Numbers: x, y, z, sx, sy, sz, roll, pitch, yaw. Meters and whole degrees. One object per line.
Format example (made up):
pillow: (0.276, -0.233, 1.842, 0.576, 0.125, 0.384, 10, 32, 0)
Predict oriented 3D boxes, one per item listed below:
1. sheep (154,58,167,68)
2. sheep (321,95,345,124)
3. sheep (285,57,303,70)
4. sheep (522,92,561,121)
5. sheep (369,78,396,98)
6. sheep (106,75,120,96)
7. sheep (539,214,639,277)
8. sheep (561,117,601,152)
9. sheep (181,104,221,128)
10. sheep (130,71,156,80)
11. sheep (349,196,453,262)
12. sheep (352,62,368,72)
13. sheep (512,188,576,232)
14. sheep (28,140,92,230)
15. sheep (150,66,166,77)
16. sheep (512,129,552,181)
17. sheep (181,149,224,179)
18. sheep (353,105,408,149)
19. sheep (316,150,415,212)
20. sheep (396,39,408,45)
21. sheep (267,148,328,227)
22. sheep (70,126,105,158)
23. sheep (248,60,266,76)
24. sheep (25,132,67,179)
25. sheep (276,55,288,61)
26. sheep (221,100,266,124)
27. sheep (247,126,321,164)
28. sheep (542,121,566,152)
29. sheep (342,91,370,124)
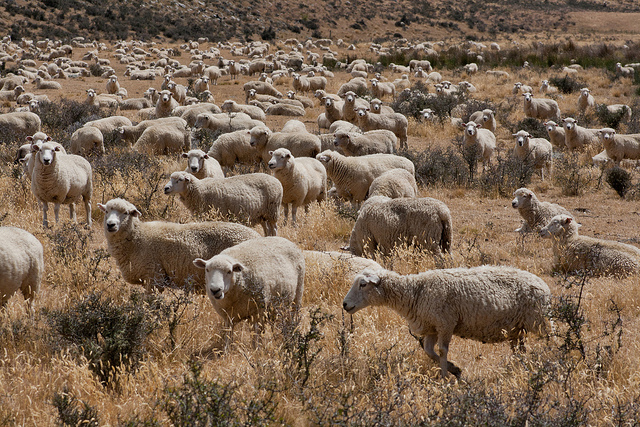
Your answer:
sheep: (-11.651, -10.898, 55.506, 0.424, 0.754, 1.361, -7, 7, -44)
sheep: (0.554, -4.025, 29.430, 0.700, 1.045, 2.184, 6, 17, 14)
sheep: (-1.752, -10.324, 52.716, 1.224, 0.833, 0.544, 4, 28, 7)
sheep: (9.303, -4.293, 32.360, 2.238, 1.325, 0.588, 2, 7, -26)
sheep: (3.111, -6.434, 39.249, 0.691, 1.190, 2.139, 1, 1, 39)
sheep: (-11.198, -6.974, 41.820, 0.755, 1.104, 1.952, -1, -5, -10)
sheep: (6.367, 0.758, 18.698, 2.727, 1.724, 1.132, 8, 5, 34)
sheep: (9.347, -2.852, 27.436, 1.559, 1.209, 0.702, -3, 17, -17)
sheep: (-4.559, -3.729, 28.834, 0.630, 1.032, 1.934, 2, 6, 42)
sheep: (-11.135, -8.732, 48.455, 1.696, 0.440, 0.915, -13, 22, -42)
sheep: (1.922, 0.534, 18.860, 3.029, 1.824, 1.484, -1, 9, 41)
sheep: (2.709, -9.559, 49.988, 1.078, 0.774, 0.495, 13, 20, 32)
sheep: (6.041, -0.017, 20.684, 1.859, 1.355, 0.806, 2, 3, -22)
sheep: (-6.842, -0.705, 20.020, 1.163, 2.116, 2.528, 4, 4, 8)
sheep: (-10.709, -9.369, 50.478, 0.575, 0.865, 1.587, -1, 7, -4)
sheep: (7.044, -1.899, 25.393, 2.148, 1.598, 0.813, -1, 6, -44)
sheep: (-3.210, -1.326, 20.973, 0.637, 0.768, 1.277, -2, -2, 5)
sheep: (2.282, -3.048, 27.850, 2.298, 1.444, 0.621, 1, -1, -25)
sheep: (1.330, -0.859, 21.614, 3.016, 1.983, 1.105, -5, 6, -9)
sheep: (8.833, -18.342, 81.564, 0.458, 0.792, 1.564, 32, 21, 24)
sheep: (-0.682, -0.718, 21.222, 1.152, 2.109, 2.630, 3, 2, 29)
sheep: (-7.497, -2.383, 25.305, 0.876, 1.364, 1.856, -5, 8, -31)
sheep: (-4.154, -9.441, 49.788, 1.070, 1.050, 1.366, 1, 16, -3)
sheep: (-7.391, -1.140, 20.437, 0.886, 1.555, 1.872, 1, 9, -23)
sheep: (-2.898, -11.674, 57.367, 0.658, 0.425, 1.299, 15, 13, 8)
sheep: (-2.837, -4.137, 30.708, 2.016, 1.121, 0.785, 11, 13, 13)
sheep: (-1.032, -2.087, 23.469, 2.314, 1.369, 1.013, 3, 3, 13)
sheep: (8.804, -2.773, 28.336, 0.597, 1.125, 1.833, -4, -1, 34)
sheep: (1.237, -3.771, 29.432, 0.743, 1.312, 2.362, 2, -2, 7)
